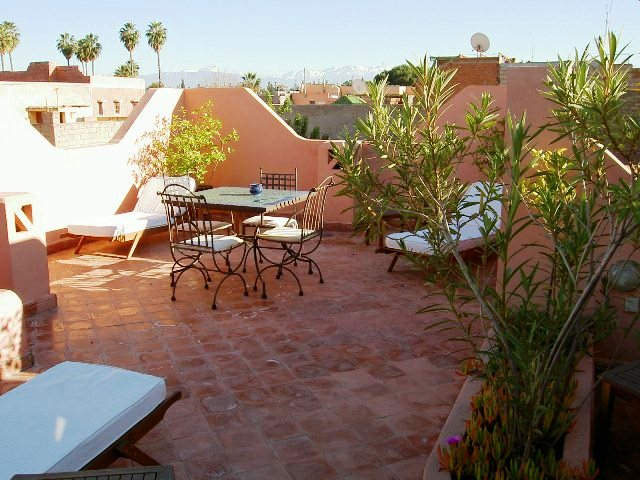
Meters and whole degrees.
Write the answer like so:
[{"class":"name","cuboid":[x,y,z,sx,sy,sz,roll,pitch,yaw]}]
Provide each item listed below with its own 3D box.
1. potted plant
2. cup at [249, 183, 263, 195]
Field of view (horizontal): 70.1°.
[{"class":"potted plant","cuboid":[-2.654,-1.739,9.008,1.590,2.002,1.790,-4,24,-14]},{"class":"cup","cuboid":[-0.866,-0.674,6.065,0.155,0.114,0.132,2,7,35]}]
